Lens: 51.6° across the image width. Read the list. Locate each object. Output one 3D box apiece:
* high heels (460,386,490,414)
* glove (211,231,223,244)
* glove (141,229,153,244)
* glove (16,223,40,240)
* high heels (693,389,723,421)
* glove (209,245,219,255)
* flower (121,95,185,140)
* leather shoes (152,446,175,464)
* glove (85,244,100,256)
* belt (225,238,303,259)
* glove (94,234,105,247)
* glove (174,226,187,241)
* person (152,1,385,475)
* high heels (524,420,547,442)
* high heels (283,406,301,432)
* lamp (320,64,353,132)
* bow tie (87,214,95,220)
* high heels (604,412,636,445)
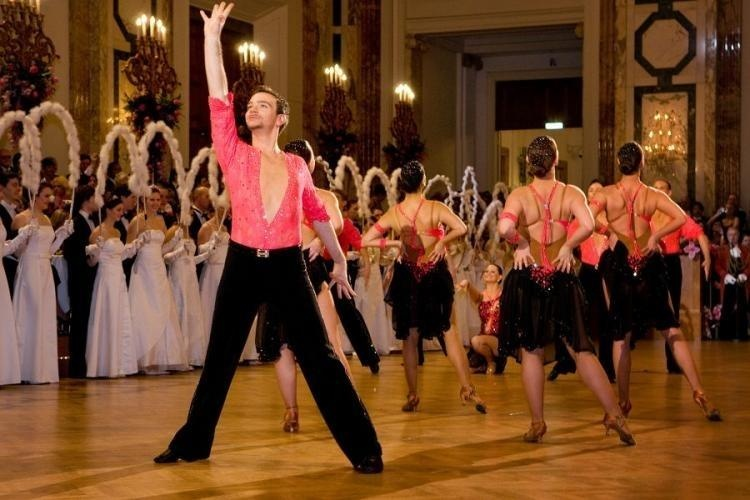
[{"bbox_3d":[0.921,1.389,6.974,0.199,0.118,0.405,3,-33,41],"label":"high heels"},{"bbox_3d":[-1.946,-0.156,9.521,0.083,0.151,0.142,6,3,20],"label":"glove"},{"bbox_3d":[-2.597,-0.145,8.855,0.098,0.128,0.143,-3,-43,-1],"label":"glove"},{"bbox_3d":[-3.589,-0.205,8.024,0.174,0.066,0.137,-34,0,4],"label":"glove"},{"bbox_3d":[2.782,1.317,6.601,0.085,0.118,0.347,34,11,-28],"label":"high heels"},{"bbox_3d":[-1.987,0.013,9.520,0.069,0.075,0.066,-8,-3,-37],"label":"glove"},{"bbox_3d":[-3.210,-2.062,11.084,0.696,0.778,0.407,2,-13,-6],"label":"flower"},{"bbox_3d":[-1.393,1.380,5.135,0.134,0.092,0.066,-28,11,1],"label":"leather shoes"},{"bbox_3d":[-3.139,0.006,8.605,0.097,0.152,0.062,-1,1,8],"label":"glove"},{"bbox_3d":[-0.730,-0.008,5.099,0.474,0.125,0.165,-2,3,-13],"label":"belt"},{"bbox_3d":[-3.034,-0.085,8.607,0.084,0.149,0.137,8,-6,-12],"label":"glove"},{"bbox_3d":[-2.296,-0.203,9.166,0.093,0.147,0.049,0,-28,-1],"label":"glove"},{"bbox_3d":[-0.706,-0.066,5.065,1.294,3.055,0.692,-2,3,-18],"label":"person"},{"bbox_3d":[1.209,1.365,5.830,0.101,0.143,0.186,-7,-4,-29],"label":"high heels"},{"bbox_3d":[-0.672,1.351,6.153,0.076,0.255,0.101,-2,13,-1],"label":"high heels"},{"bbox_3d":[-0.745,-2.814,14.718,0.829,1.325,0.857,0,1,-20],"label":"lamp"},{"bbox_3d":[-3.291,-0.384,8.981,0.060,0.065,0.015,5,-14,-32],"label":"bow tie"},{"bbox_3d":[1.807,1.333,5.816,0.179,0.216,0.279,-4,4,-43],"label":"high heels"}]
